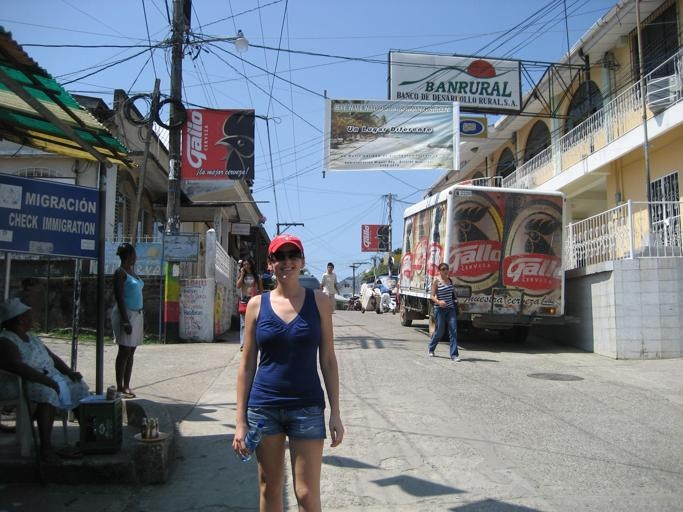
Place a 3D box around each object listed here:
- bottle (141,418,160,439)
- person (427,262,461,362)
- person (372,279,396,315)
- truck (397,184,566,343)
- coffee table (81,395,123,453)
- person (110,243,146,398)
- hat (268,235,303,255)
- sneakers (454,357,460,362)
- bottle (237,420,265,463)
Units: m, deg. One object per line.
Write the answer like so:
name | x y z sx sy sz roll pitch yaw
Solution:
bottle | -1.944 1.734 5.847 0.174 0.157 0.321 1 0 -19
person | 2.251 1.271 12.500 0.665 1.948 1.327 1 0 9
person | 2.203 2.310 29.596 0.934 1.005 1.701 0 -10 -5
truck | 3.653 0.399 15.146 3.184 3.709 3.530 1 0 -10
coffee table | -2.459 1.704 6.071 0.398 0.518 0.711 -1 -5 -7
person | -2.973 0.955 7.997 0.436 2.059 0.810 0 1 -22
hat | -0.413 -0.019 4.314 0.201 0.157 0.339 2 -9 -10
sneakers | 2.428 2.186 11.978 0.129 0.083 0.348 1 0 18
bottle | -0.689 1.400 4.359 0.154 0.280 0.128 0 1 -41
